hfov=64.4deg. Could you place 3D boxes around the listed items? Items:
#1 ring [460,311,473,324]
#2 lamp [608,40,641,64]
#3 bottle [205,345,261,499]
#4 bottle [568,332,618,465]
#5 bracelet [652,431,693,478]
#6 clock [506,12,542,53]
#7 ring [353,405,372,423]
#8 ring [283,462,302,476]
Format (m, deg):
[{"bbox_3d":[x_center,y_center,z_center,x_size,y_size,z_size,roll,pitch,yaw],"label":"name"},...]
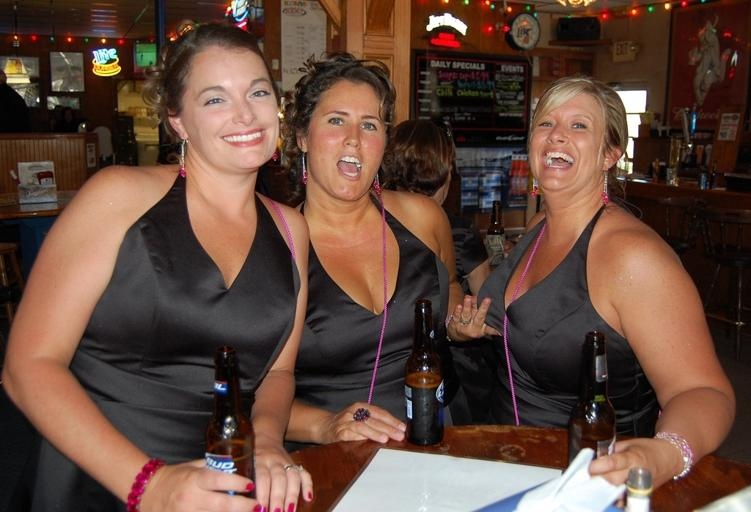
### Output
[{"bbox_3d":[0.390,0.254,2.517,0.037,0.054,0.024,1,-5,11],"label":"ring"},{"bbox_3d":[4.249,-3.487,10.111,0.433,0.344,0.303,9,15,39],"label":"lamp"},{"bbox_3d":[-0.406,0.429,1.650,0.135,0.408,0.183,-4,12,-15],"label":"bottle"},{"bbox_3d":[0.638,0.404,1.716,0.132,0.420,0.143,-1,11,0],"label":"bottle"},{"bbox_3d":[0.899,0.579,1.755,0.107,0.123,0.037,-35,-5,-14],"label":"bracelet"},{"bbox_3d":[2.208,-3.311,8.756,0.588,0.539,0.187,-8,14,-34],"label":"clock"},{"bbox_3d":[-0.043,0.541,2.043,0.054,0.035,0.071,-2,12,-9],"label":"ring"},{"bbox_3d":[-0.241,0.622,1.756,0.061,0.025,0.047,-5,13,-22],"label":"ring"}]
